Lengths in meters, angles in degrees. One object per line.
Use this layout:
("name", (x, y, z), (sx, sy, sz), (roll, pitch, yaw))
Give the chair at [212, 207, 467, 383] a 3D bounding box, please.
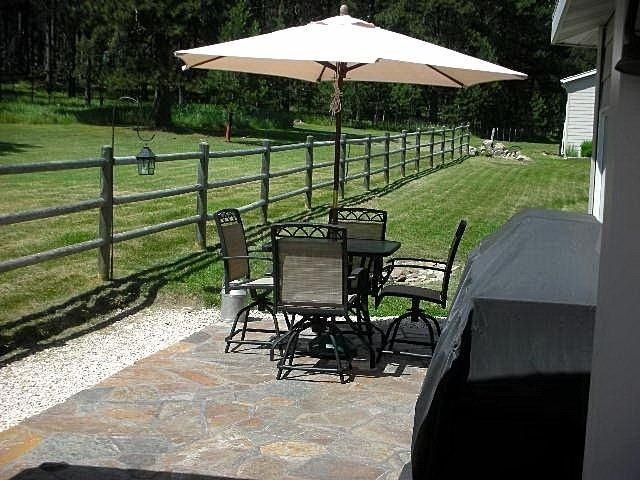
("chair", (0.107, 0.447, 4.850), (2.050, 1.352, 1.875), (6, 9, 33))
